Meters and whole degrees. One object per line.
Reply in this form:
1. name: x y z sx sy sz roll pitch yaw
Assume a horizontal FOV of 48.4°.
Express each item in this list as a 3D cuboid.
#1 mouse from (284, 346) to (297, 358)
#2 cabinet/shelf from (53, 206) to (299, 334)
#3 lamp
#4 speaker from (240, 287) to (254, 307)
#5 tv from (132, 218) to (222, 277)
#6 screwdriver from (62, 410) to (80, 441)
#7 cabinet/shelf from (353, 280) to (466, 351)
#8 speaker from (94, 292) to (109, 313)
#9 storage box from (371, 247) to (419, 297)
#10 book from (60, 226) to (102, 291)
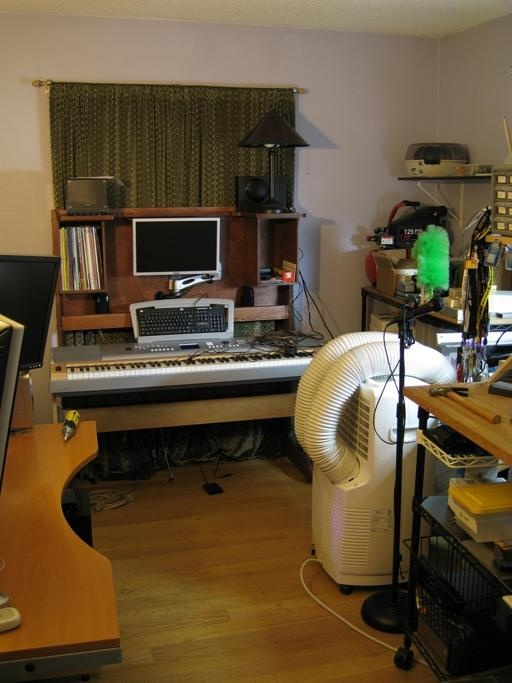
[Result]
1. mouse: 0.208 0.059 3.332 0.067 0.062 0.060 3 -4 -7
2. cabinet/shelf: -0.452 -0.292 3.581 1.490 0.974 0.440 -4 7 -18
3. lamp: 0.101 -1.128 3.492 0.384 0.654 0.467 -1 9 -1
4. speaker: -0.052 -0.313 3.824 0.118 0.175 0.124 1 15 -2
5. tv: -0.487 -0.582 3.446 0.374 0.243 0.015 -3 17 -11
6. screwdriver: -0.677 0.307 2.103 0.043 0.035 0.133 4 26 -5
7. cabinet/shelf: 0.804 -0.140 2.917 0.520 0.181 0.551 -20 22 -14
8. speaker: -0.942 -0.240 3.506 0.081 0.131 0.061 -1 9 1
9. storage box: 0.862 -0.436 3.556 0.299 0.306 0.317 -7 17 -22
10. book: -1.018 -0.481 3.336 0.219 0.367 0.053 -4 10 -20
